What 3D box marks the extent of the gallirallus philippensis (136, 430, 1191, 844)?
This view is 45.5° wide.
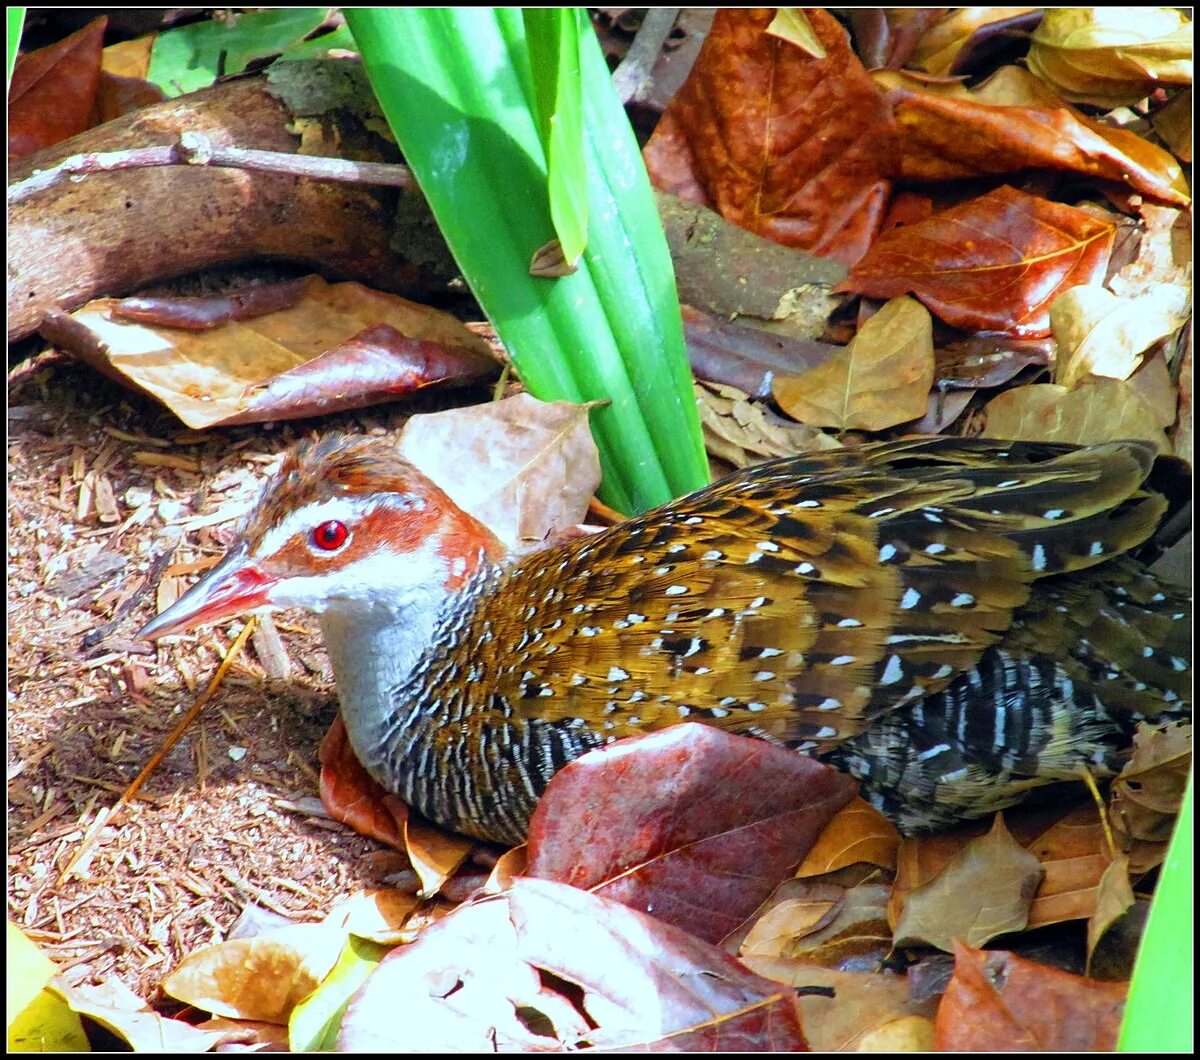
[{"bbox_3d":[0.175,0.204,2.742,1.796,0.631,0.786,3,62,2],"label":"gallirallus philippensis"}]
